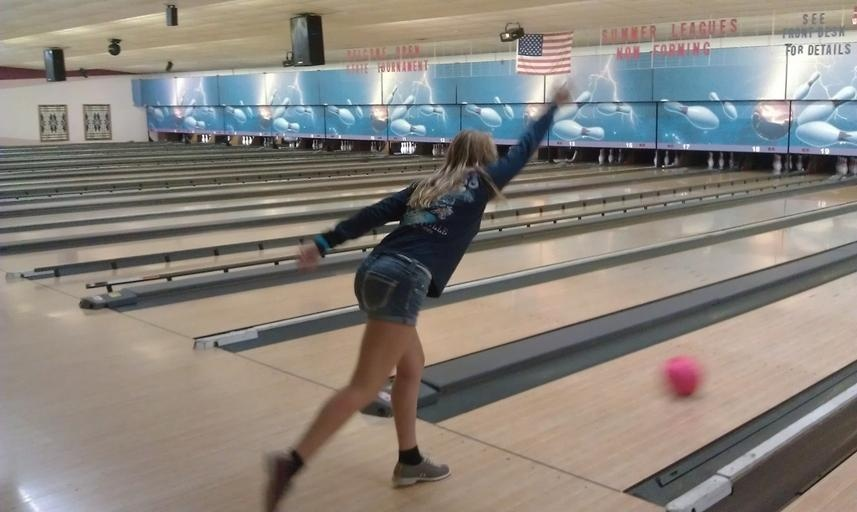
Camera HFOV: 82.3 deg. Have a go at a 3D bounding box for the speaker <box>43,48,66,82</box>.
[{"bbox_3d":[-10.139,-5.234,13.301,0.288,0.401,0.294,19,13,22],"label":"speaker"}]

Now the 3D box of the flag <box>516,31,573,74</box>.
[{"bbox_3d":[2.213,-3.865,9.345,1.145,0.762,0.040,16,30,34],"label":"flag"}]

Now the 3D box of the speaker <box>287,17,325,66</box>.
[{"bbox_3d":[-2.183,-3.864,8.701,0.577,0.907,0.493,-2,13,-1],"label":"speaker"}]

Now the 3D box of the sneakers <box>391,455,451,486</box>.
[{"bbox_3d":[-0.028,0.772,1.788,0.208,0.086,0.080,-3,0,-22],"label":"sneakers"}]

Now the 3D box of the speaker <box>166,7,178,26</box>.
[{"bbox_3d":[-4.511,-4.238,8.619,0.183,0.346,0.471,-9,15,-27],"label":"speaker"}]
